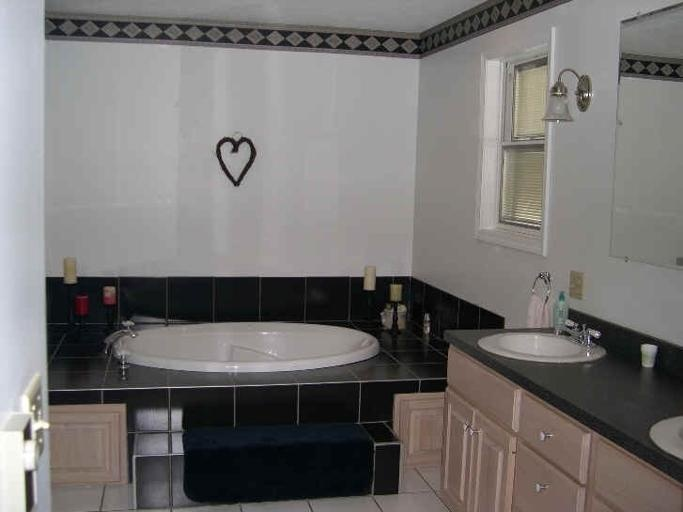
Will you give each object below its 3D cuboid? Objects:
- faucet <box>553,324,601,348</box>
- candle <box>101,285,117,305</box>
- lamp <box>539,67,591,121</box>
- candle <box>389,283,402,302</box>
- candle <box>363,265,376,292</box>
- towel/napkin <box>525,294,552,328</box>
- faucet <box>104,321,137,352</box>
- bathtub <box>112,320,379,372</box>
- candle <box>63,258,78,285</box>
[{"bbox_3d":[1.213,0.406,2.830,0.072,0.094,0.229,0,3,-10],"label":"faucet"},{"bbox_3d":[-1.837,0.312,4.400,0.119,0.149,0.121,-1,3,-36],"label":"candle"},{"bbox_3d":[1.180,-0.840,2.868,0.227,0.288,0.406,4,11,24],"label":"lamp"},{"bbox_3d":[0.462,0.312,4.754,0.125,0.157,0.129,4,6,35],"label":"candle"},{"bbox_3d":[0.246,0.205,4.785,0.107,0.246,0.195,1,9,2],"label":"candle"},{"bbox_3d":[1.138,0.322,3.158,0.128,0.184,0.096,3,9,14],"label":"towel/napkin"},{"bbox_3d":[-1.641,0.557,4.106,0.218,0.147,0.660,-3,11,-21],"label":"faucet"},{"bbox_3d":[-0.682,0.692,4.060,1.851,0.330,1.053,0,10,-4],"label":"bathtub"},{"bbox_3d":[-2.136,0.115,4.366,0.105,0.214,0.175,-4,10,-27],"label":"candle"}]
